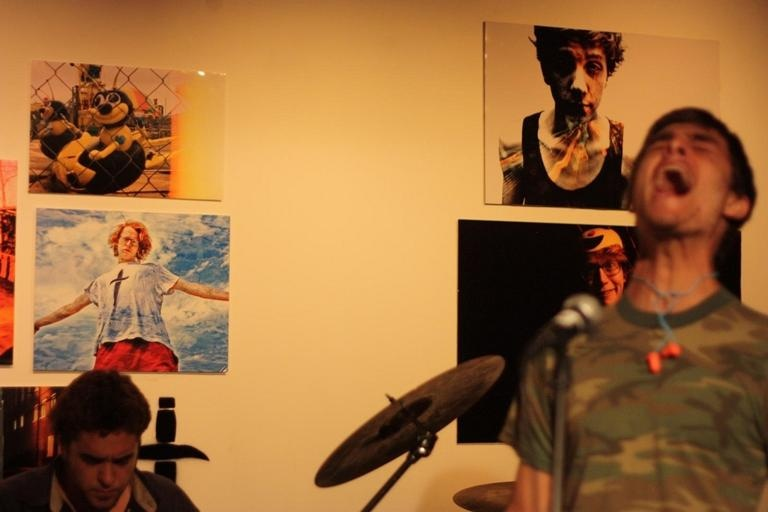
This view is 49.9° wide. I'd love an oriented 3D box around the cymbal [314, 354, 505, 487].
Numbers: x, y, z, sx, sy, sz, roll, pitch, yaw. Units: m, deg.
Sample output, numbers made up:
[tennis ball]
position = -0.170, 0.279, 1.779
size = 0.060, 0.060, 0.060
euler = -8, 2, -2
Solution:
[cymbal]
position = 0.115, 0.686, 3.471
size = 0.606, 0.155, 0.658
euler = -26, -12, 31
